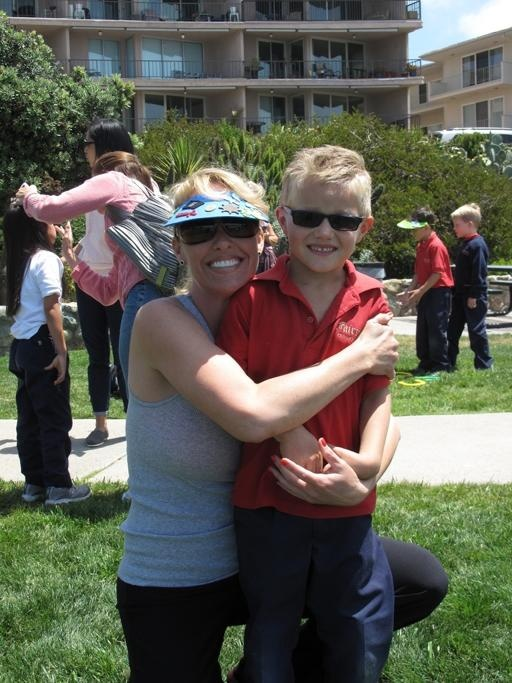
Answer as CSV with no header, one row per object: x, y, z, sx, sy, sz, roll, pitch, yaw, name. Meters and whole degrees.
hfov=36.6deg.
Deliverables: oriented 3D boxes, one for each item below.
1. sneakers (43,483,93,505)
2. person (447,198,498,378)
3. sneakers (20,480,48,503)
-1.124,0.920,4.650,0.278,0.139,0.103,-2,2,-19,sneakers
2.717,-0.713,9.869,0.533,2.063,1.223,0,10,13,person
-1.389,0.937,4.833,0.068,0.076,0.192,5,2,28,sneakers
